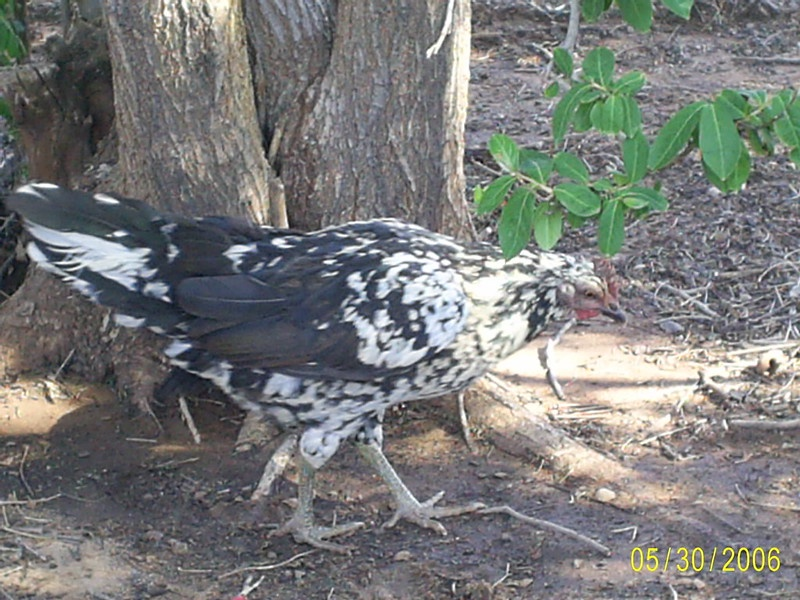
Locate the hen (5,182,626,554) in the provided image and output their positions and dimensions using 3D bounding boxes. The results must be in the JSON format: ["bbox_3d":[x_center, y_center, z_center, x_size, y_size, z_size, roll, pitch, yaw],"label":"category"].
[{"bbox_3d":[-0.635,0.442,9.506,3.861,2.573,0.831,0,26,2],"label":"hen"}]
